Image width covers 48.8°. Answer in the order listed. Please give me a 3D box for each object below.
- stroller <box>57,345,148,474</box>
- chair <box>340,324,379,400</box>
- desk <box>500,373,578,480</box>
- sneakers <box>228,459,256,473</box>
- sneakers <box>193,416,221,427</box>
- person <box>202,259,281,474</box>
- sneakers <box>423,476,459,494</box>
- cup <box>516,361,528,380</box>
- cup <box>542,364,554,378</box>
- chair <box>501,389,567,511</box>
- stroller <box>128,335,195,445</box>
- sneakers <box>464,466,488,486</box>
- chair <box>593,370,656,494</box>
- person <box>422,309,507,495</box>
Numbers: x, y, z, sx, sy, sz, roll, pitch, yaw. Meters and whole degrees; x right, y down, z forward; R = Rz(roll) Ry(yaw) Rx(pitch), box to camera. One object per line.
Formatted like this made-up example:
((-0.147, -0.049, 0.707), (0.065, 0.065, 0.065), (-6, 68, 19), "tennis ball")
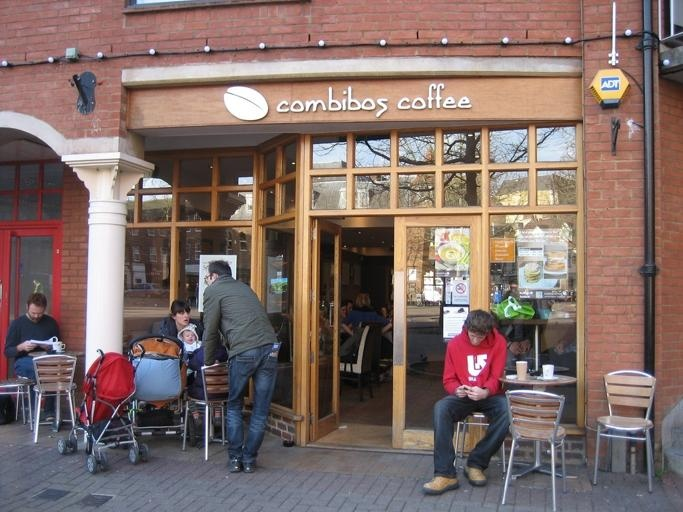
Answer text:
((-2.718, 1.699, 8.542), (0.782, 1.363, 0.844), (-6, 12, -31), "stroller")
((0.533, 1.759, 12.177), (0.578, 0.915, 0.572), (11, -15, 23), "chair")
((2.155, 1.869, 8.262), (1.089, 1.205, 1.070), (-1, -5, 4), "desk")
((-1.098, 2.339, 8.375), (0.301, 0.119, 0.122), (6, -8, -15), "sneakers")
((-1.743, 2.138, 9.879), (0.360, 0.140, 0.280), (4, -4, -42), "sneakers")
((-1.163, 1.243, 8.582), (0.711, 2.210, 0.934), (-8, 13, -39), "person")
((1.035, 2.381, 7.827), (0.409, 0.152, 0.147), (4, -10, -25), "sneakers")
((1.988, 1.258, 8.281), (0.113, 0.199, 0.141), (3, 11, 16), "cup")
((2.321, 1.285, 8.400), (0.148, 0.147, 0.139), (0, 0, 0), "cup")
((2.032, 1.882, 7.820), (0.625, 1.257, 1.039), (3, 11, 17), "chair")
((-2.210, 1.509, 8.970), (0.823, 1.152, 0.806), (-2, 0, -23), "stroller")
((1.427, 2.350, 8.058), (0.270, 0.169, 0.187), (4, 11, 22), "sneakers")
((3.097, 1.854, 8.174), (0.623, 1.139, 0.789), (4, 11, 21), "chair")
((1.399, 1.528, 8.081), (0.810, 1.812, 1.039), (3, 10, 12), "person")
